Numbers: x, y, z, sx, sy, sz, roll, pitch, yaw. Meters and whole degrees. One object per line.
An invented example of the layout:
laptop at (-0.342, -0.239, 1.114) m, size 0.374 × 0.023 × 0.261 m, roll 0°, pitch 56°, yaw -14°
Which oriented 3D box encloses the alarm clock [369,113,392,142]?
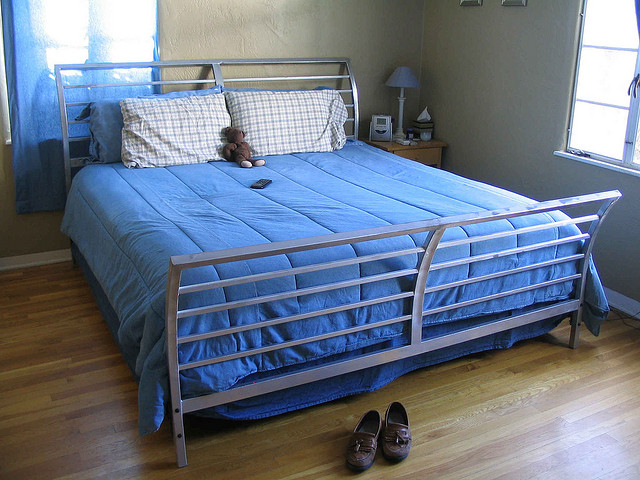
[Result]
alarm clock at (0.485, -0.938, 4.366) m, size 0.246 × 0.220 × 0.234 m, roll 3°, pitch 7°, yaw 19°

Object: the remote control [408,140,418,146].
remote control at (0.757, -0.802, 4.257) m, size 0.051 × 0.015 × 0.049 m, roll -7°, pitch 32°, yaw -27°

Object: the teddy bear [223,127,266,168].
teddy bear at (-0.531, -0.626, 3.478) m, size 0.302 × 0.280 × 0.212 m, roll 16°, pitch 26°, yaw 41°

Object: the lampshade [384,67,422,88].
lampshade at (0.672, -1.313, 4.199) m, size 0.227 × 0.098 × 0.211 m, roll 3°, pitch 14°, yaw 13°

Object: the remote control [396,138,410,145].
remote control at (0.686, -0.816, 4.285) m, size 0.075 × 0.018 × 0.074 m, roll -8°, pitch 26°, yaw -26°

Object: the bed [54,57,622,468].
bed at (-0.073, -0.269, 3.203) m, size 2.566 × 1.175 × 2.389 m, roll -9°, pitch 28°, yaw -27°

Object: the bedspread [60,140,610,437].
bedspread at (-0.150, -0.038, 3.020) m, size 2.253 × 0.583 × 1.992 m, roll -12°, pitch 26°, yaw -24°
